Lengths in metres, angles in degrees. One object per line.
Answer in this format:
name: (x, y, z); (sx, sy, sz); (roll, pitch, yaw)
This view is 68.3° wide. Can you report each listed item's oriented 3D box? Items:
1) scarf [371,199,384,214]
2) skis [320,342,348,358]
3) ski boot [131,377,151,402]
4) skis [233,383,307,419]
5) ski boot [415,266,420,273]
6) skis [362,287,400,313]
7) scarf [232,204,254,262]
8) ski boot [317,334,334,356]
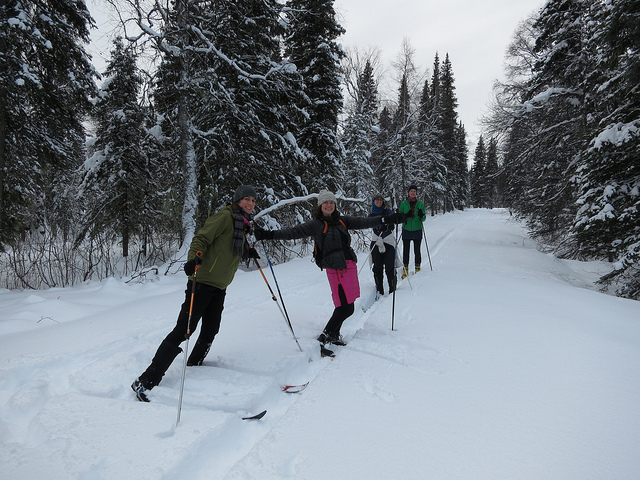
scarf: (1.439, -0.806, 11.889); (0.200, 0.256, 0.228); (-2, 0, -41)
skis: (0.277, 2.131, 9.269); (0.553, 0.197, 0.265); (-11, 9, -42)
ski boot: (-3.108, 2.577, 8.146); (0.155, 0.514, 0.231); (8, 50, 32)
skis: (-0.905, 2.798, 8.183); (1.289, 0.205, 0.186); (-13, -5, -44)
ski boot: (2.736, 0.821, 13.417); (0.119, 0.149, 0.228); (-2, 7, 19)
skis: (1.425, 1.434, 11.199); (0.132, 0.151, 1.282); (-8, 17, 37)
scarf: (-1.460, -0.148, 8.710); (0.172, 0.829, 0.508); (0, -12, 22)
ski boot: (0.082, 2.039, 9.203); (0.340, 0.487, 0.268); (-7, -5, 6)
